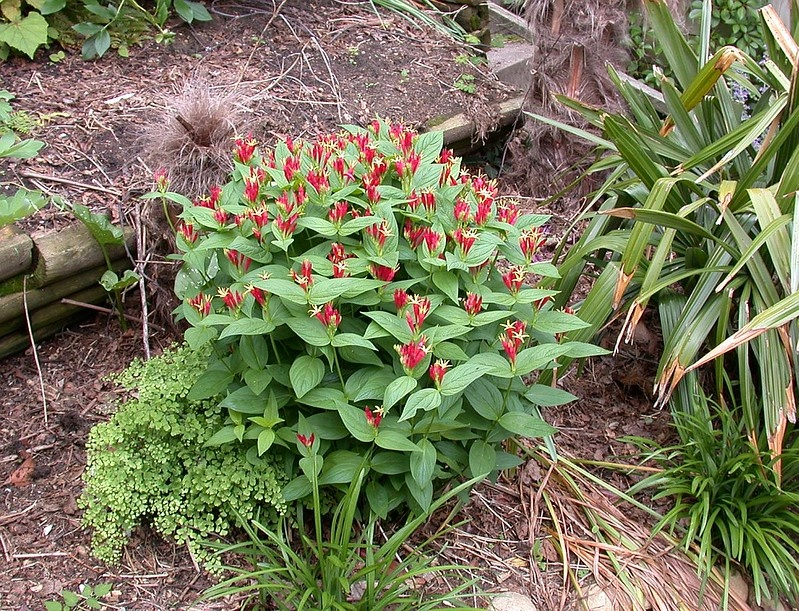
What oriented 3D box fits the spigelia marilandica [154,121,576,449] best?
[{"bbox_3d":[-0.218,0.139,2.524,1.295,0.561,1.304,28,71,0],"label":"spigelia marilandica"}]
